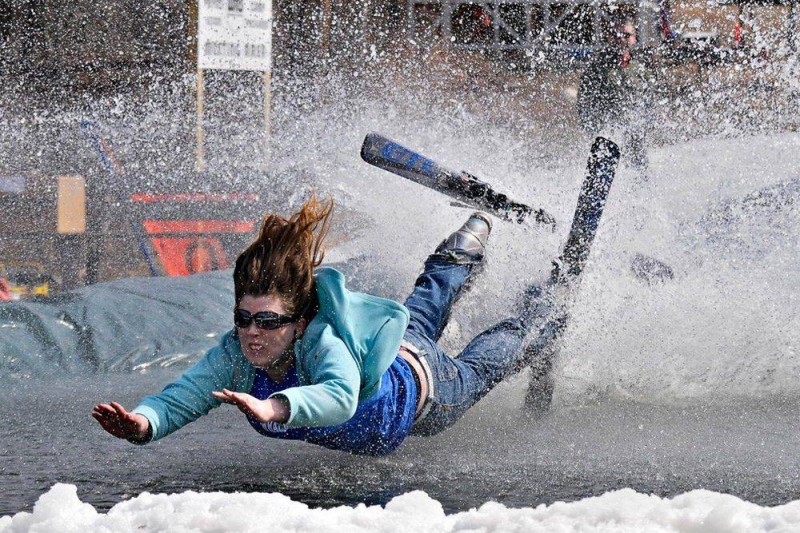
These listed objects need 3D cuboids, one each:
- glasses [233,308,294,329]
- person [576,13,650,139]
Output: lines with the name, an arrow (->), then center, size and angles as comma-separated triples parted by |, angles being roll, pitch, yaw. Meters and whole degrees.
glasses -> -1.119, 0.438, 11.540 | 0.526, 0.167, 0.083 | 6, 11, -4
person -> 2.713, -2.620, 18.355 | 0.671, 1.656, 0.321 | 8, 11, 6
